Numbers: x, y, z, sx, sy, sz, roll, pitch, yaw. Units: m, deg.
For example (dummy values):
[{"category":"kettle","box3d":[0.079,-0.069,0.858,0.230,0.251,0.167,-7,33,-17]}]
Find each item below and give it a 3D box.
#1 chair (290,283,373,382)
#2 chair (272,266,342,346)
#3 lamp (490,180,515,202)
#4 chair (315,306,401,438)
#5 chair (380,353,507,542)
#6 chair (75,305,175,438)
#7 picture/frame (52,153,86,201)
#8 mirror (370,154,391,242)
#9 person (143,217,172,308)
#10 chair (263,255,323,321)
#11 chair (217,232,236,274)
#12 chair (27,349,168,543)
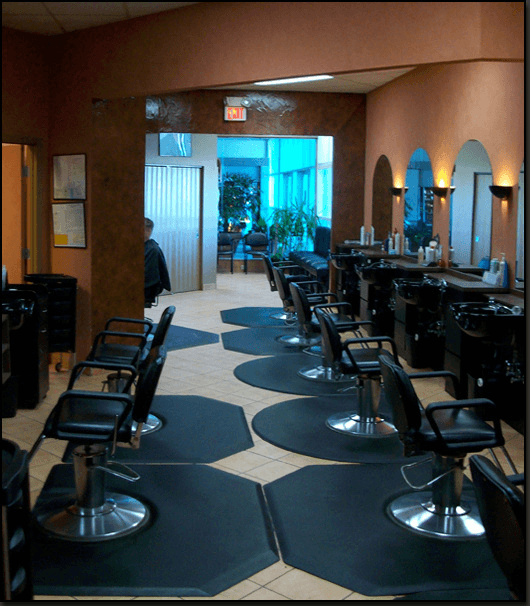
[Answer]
[{"category":"chair","box3d":[0.565,0.251,4.772,0.636,0.857,0.648,-5,4,-20]},{"category":"chair","box3d":[0.446,-0.052,5.794,0.668,0.952,0.807,-8,2,-9]},{"category":"lamp","box3d":[1.902,-0.908,4.006,0.135,0.100,0.135,-1,7,-19]},{"category":"chair","box3d":[0.603,0.452,3.613,0.771,0.929,0.765,-1,5,-5]},{"category":"chair","box3d":[0.726,0.581,2.467,0.724,0.865,0.690,-1,8,-4]},{"category":"chair","box3d":[-0.944,0.448,3.200,0.696,0.821,0.634,2,7,-6]},{"category":"picture/frame","box3d":[-1.796,-1.176,4.636,0.369,0.402,0.039,5,10,17]},{"category":"mirror","box3d":[1.756,-1.579,7.440,0.043,1.252,0.284,-14,20,-36]},{"category":"person","box3d":[-1.222,-0.452,5.664,0.267,1.032,0.567,-1,6,-11]},{"category":"chair","box3d":[0.344,-0.274,7.129,0.828,0.788,0.822,0,1,41]},{"category":"chair","box3d":[-0.925,-1.264,12.406,0.447,1.011,0.543,0,6,-4]},{"category":"chair","box3d":[-0.634,0.643,2.508,0.741,0.898,0.696,3,1,-8]}]
